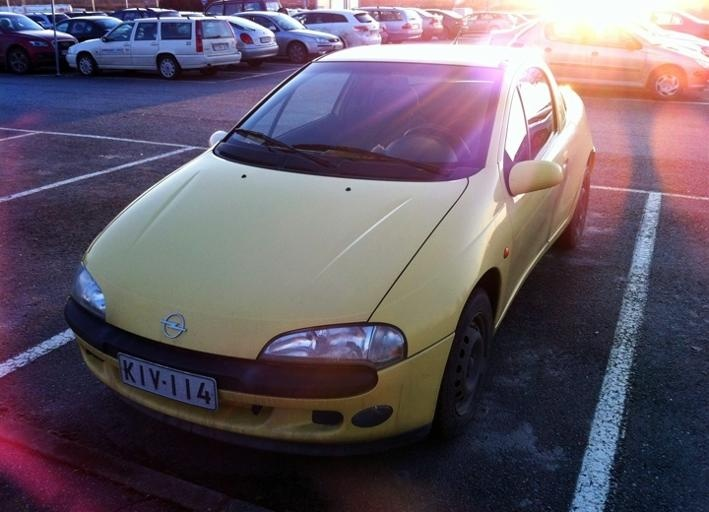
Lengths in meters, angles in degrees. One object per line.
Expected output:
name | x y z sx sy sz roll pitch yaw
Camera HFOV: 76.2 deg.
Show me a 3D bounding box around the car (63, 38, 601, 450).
car | -0.176 -0.166 2.687 1.968 1.920 2.457 19 28 35
